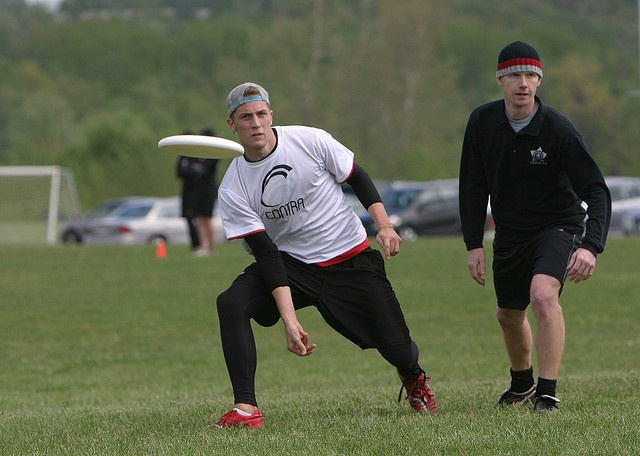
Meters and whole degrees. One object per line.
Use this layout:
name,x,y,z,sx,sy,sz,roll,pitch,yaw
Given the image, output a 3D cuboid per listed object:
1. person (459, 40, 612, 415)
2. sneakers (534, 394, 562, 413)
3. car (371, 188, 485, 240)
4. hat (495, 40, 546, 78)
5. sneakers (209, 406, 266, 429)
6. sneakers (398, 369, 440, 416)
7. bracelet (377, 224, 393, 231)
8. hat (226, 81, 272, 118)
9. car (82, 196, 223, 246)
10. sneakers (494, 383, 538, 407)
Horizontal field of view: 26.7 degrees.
person,1.833,-0.021,11.667,1.289,3.183,0.678,1,7,40
sneakers,1.925,1.488,11.402,0.210,0.148,0.163,-2,5,8
car,2.537,-0.292,30.136,1.892,0.924,1.056,2,-3,0
hat,1.715,-1.531,11.736,0.385,0.311,0.394,9,16,10
sneakers,-0.668,1.607,11.329,0.442,0.192,0.165,2,-3,-2
sneakers,0.877,1.461,11.820,0.236,0.444,0.187,-26,2,5
bracelet,0.578,0.005,11.526,0.132,0.050,0.127,-3,6,-1
hat,-0.610,-1.107,11.579,0.400,0.262,0.427,-10,-11,-13
car,-2.041,-0.080,17.187,0.837,0.648,2.011,2,7,42
sneakers,1.735,1.492,11.980,0.388,0.154,0.143,-25,-4,-1
